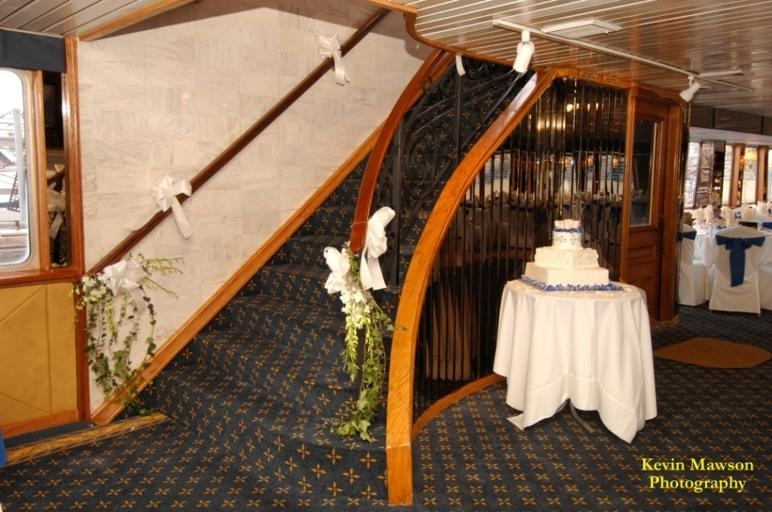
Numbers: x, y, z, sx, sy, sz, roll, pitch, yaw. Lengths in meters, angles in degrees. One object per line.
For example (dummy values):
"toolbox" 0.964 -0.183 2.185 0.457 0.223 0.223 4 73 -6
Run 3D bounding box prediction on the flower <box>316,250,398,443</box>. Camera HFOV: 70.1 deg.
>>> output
"flower" -0.200 0.611 4.312 0.500 1.410 0.764 -1 13 -1

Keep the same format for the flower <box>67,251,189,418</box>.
"flower" -2.415 0.750 5.067 0.332 1.673 1.379 4 8 44

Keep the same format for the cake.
"cake" 1.704 -0.012 5.072 0.817 0.588 0.807 -1 2 -31

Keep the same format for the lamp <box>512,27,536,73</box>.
"lamp" 1.170 -1.743 4.689 0.135 0.329 0.427 2 14 14
